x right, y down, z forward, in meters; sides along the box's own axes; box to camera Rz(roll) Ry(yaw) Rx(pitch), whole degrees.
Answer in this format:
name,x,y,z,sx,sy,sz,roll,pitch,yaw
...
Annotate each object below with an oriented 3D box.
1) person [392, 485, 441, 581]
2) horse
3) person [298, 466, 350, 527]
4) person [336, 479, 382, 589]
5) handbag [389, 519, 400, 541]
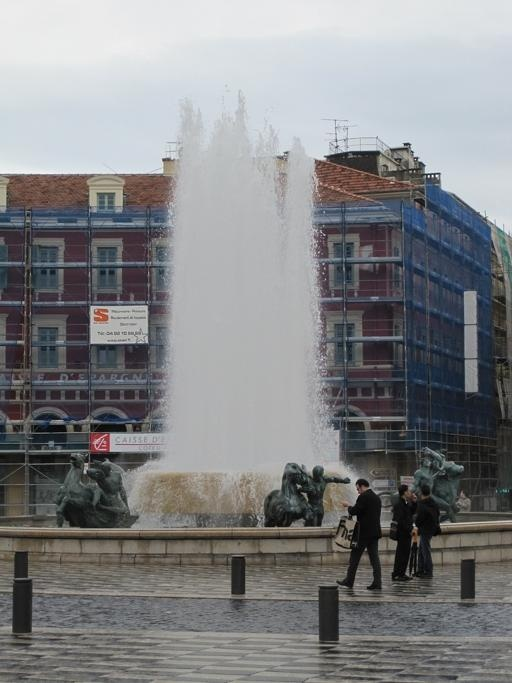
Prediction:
name,x,y,z,sx,sy,sz,roll,pitch,yaw
person,1.999,2.414,24.256,0.611,1.196,1.050,-1,-7,5
horse,-2.393,2.161,28.425,1.058,0.995,0.389,17,-9,-40
person,0.964,2.256,27.739,0.766,0.920,0.281,2,-14,-10
person,1.237,2.272,22.671,0.452,1.320,0.427,-1,-6,4
handbag,1.710,2.348,24.038,0.102,0.247,0.267,0,-7,-4
